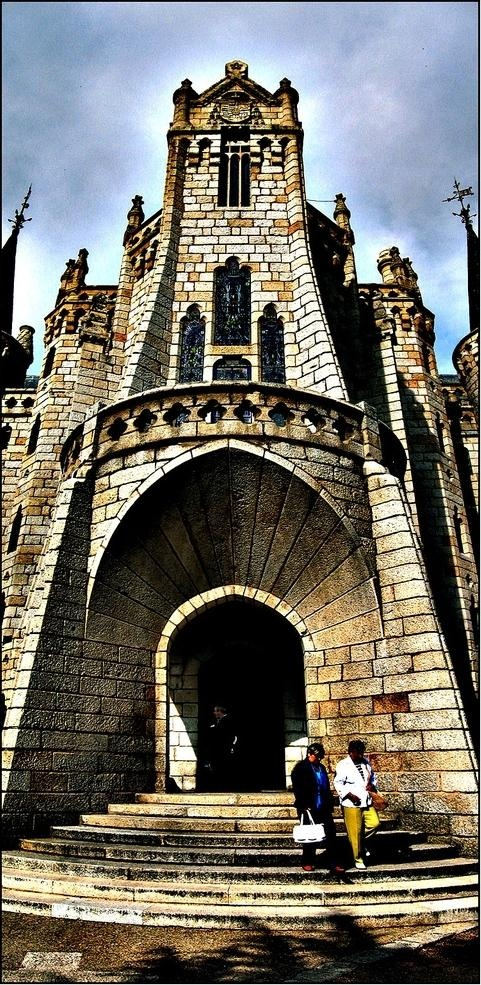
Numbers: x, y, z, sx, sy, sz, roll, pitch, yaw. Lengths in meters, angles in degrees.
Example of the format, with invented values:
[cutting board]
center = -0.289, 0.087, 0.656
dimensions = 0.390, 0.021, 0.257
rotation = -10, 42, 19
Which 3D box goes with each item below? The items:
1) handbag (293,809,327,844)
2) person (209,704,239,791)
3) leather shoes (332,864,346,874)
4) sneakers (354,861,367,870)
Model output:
[handbag]
center = 0.675, 3.257, 6.366
dimensions = 0.294, 0.298, 0.328
rotation = -4, -27, 5
[person]
center = -0.305, 4.463, 11.652
dimensions = 0.470, 0.438, 1.927
rotation = -2, -61, -12
[leather shoes]
center = 0.919, 3.511, 6.101
dimensions = 0.127, 0.113, 0.050
rotation = -8, -20, 15
[sneakers]
center = 1.174, 3.623, 6.358
dimensions = 0.101, 0.089, 0.286
rotation = -5, -29, 7
